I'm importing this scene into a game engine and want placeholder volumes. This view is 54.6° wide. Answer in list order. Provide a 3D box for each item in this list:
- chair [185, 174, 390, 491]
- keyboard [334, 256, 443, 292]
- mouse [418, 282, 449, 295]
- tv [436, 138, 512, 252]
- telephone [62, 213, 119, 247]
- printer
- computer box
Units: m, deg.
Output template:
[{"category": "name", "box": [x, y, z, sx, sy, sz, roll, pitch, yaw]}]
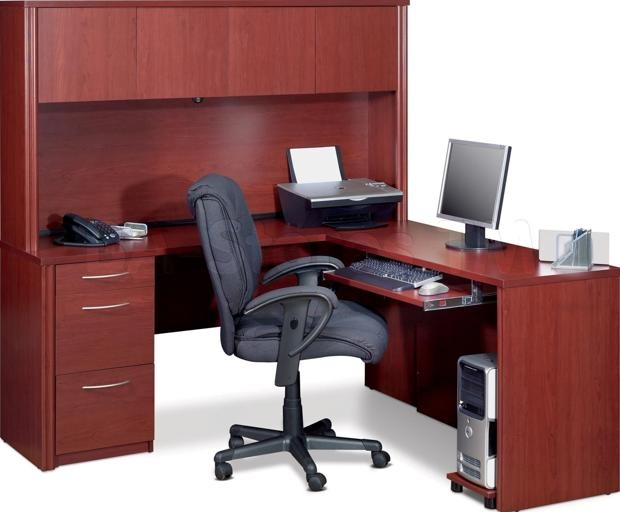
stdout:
[{"category": "chair", "box": [-0.095, 0.358, 3.048, 0.998, 1.379, 0.900, 2, 6, 4]}, {"category": "keyboard", "box": [0.374, 0.053, 2.927, 0.445, 0.116, 0.478, -6, 14, -29]}, {"category": "mouse", "box": [0.535, 0.136, 2.634, 0.103, 0.034, 0.058, -8, 12, -33]}, {"category": "tv", "box": [0.831, -0.314, 3.077, 0.073, 0.533, 0.446, -5, 17, -26]}, {"category": "telephone", "box": [-1.156, -0.171, 3.189, 0.283, 0.174, 0.283, 9, 16, 28]}, {"category": "printer", "box": [0.124, -0.393, 3.734, 0.651, 0.416, 0.621, -5, 13, -25]}, {"category": "computer box", "box": [0.717, 0.719, 2.613, 0.137, 0.504, 0.196, -4, 15, -16]}]
